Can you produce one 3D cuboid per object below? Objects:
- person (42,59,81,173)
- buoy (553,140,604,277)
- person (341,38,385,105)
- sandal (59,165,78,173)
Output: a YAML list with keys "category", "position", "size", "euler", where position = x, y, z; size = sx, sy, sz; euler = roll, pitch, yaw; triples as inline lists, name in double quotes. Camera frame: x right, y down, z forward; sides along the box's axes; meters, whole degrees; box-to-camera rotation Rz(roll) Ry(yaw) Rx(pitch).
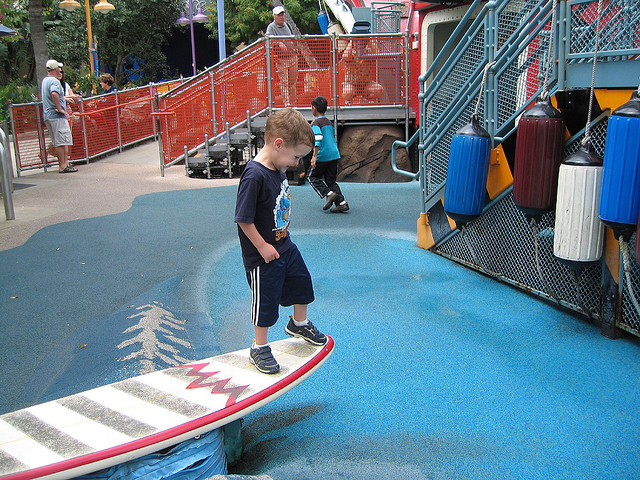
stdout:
- category: "person"
  position: [-6.950, -3.147, 11.838]
  size: [0.706, 2.790, 0.542]
  euler: [7, 16, 31]
- category: "buoy"
  position: [2.242, -0.269, 3.803]
  size: [0.370, 1.093, 0.386]
  euler: [3, 11, 31]
- category: "person"
  position: [1.016, -4.169, 11.376]
  size: [1.260, 1.382, 0.360]
  euler: [5, 11, 16]
- category: "sandal"
  position: [-6.831, -1.862, 12.129]
  size: [0.385, 0.177, 0.131]
  euler: [-4, 15, -19]
